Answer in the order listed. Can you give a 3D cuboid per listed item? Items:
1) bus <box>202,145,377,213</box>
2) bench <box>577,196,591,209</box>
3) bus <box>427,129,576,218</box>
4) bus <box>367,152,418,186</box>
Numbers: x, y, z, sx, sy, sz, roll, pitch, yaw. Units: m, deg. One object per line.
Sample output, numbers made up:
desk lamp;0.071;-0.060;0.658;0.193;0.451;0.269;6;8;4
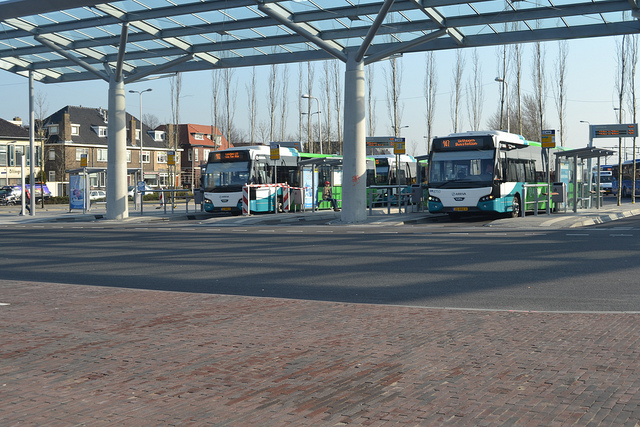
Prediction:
bus;-1.189;-1.748;40.145;3.346;3.718;13.049;-1;1;37
bench;13.578;-0.599;37.196;0.774;0.790;0.787;2;7;22
bus;8.635;-1.744;33.350;3.527;3.765;11.008;2;2;33
bus;5.195;-2.622;49.377;2.254;2.810;8.147;2;2;26
